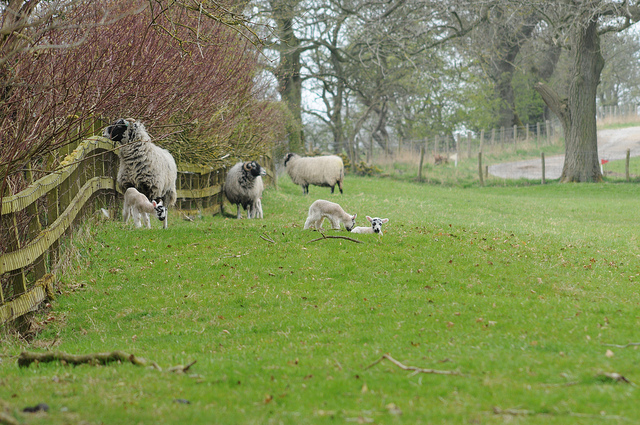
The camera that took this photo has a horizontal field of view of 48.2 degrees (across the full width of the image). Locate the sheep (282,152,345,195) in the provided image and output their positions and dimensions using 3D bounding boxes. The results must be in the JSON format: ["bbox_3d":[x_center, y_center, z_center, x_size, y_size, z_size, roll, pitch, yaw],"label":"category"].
[{"bbox_3d":[-0.435,-1.916,37.135,3.270,2.366,1.658,-1,8,18],"label":"sheep"}]

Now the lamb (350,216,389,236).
[{"bbox_3d":[1.655,0.545,24.173,0.597,0.654,0.987,4,-9,-36],"label":"lamb"}]

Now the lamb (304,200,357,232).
[{"bbox_3d":[0.281,0.130,24.452,2.182,1.469,0.787,3,5,0],"label":"lamb"}]

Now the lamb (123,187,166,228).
[{"bbox_3d":[-6.023,-0.139,24.068,1.708,1.143,0.655,23,13,17],"label":"lamb"}]

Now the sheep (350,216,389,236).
[{"bbox_3d":[1.694,0.482,24.153,0.543,0.688,1.193,3,-5,-40],"label":"sheep"}]
